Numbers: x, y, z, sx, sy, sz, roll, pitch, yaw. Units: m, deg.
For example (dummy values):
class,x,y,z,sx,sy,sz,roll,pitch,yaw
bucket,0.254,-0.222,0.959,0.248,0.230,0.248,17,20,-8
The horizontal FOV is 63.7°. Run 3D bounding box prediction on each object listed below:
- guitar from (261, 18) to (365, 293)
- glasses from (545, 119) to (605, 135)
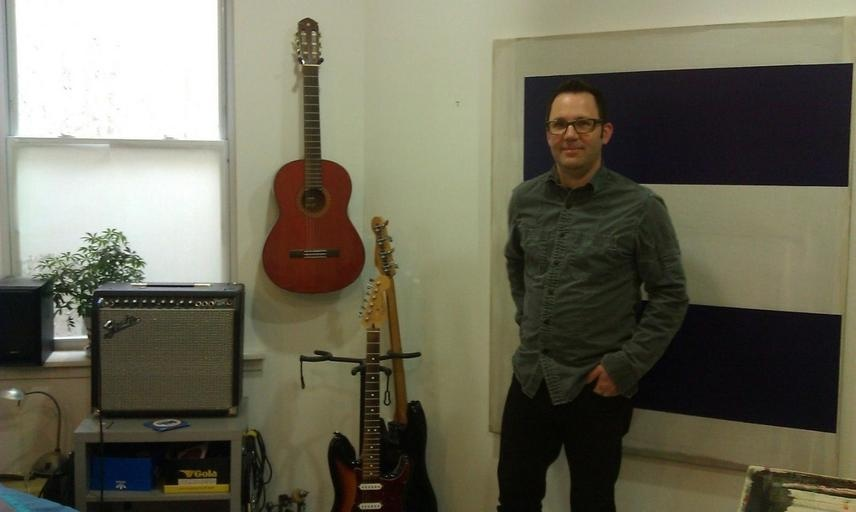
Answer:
class,x,y,z,sx,sy,sz,roll,pitch,yaw
guitar,-0.675,-0.601,4.068,0.591,1.616,0.114,1,2,-9
glasses,0.705,-0.624,3.307,0.262,0.075,0.065,1,2,9
